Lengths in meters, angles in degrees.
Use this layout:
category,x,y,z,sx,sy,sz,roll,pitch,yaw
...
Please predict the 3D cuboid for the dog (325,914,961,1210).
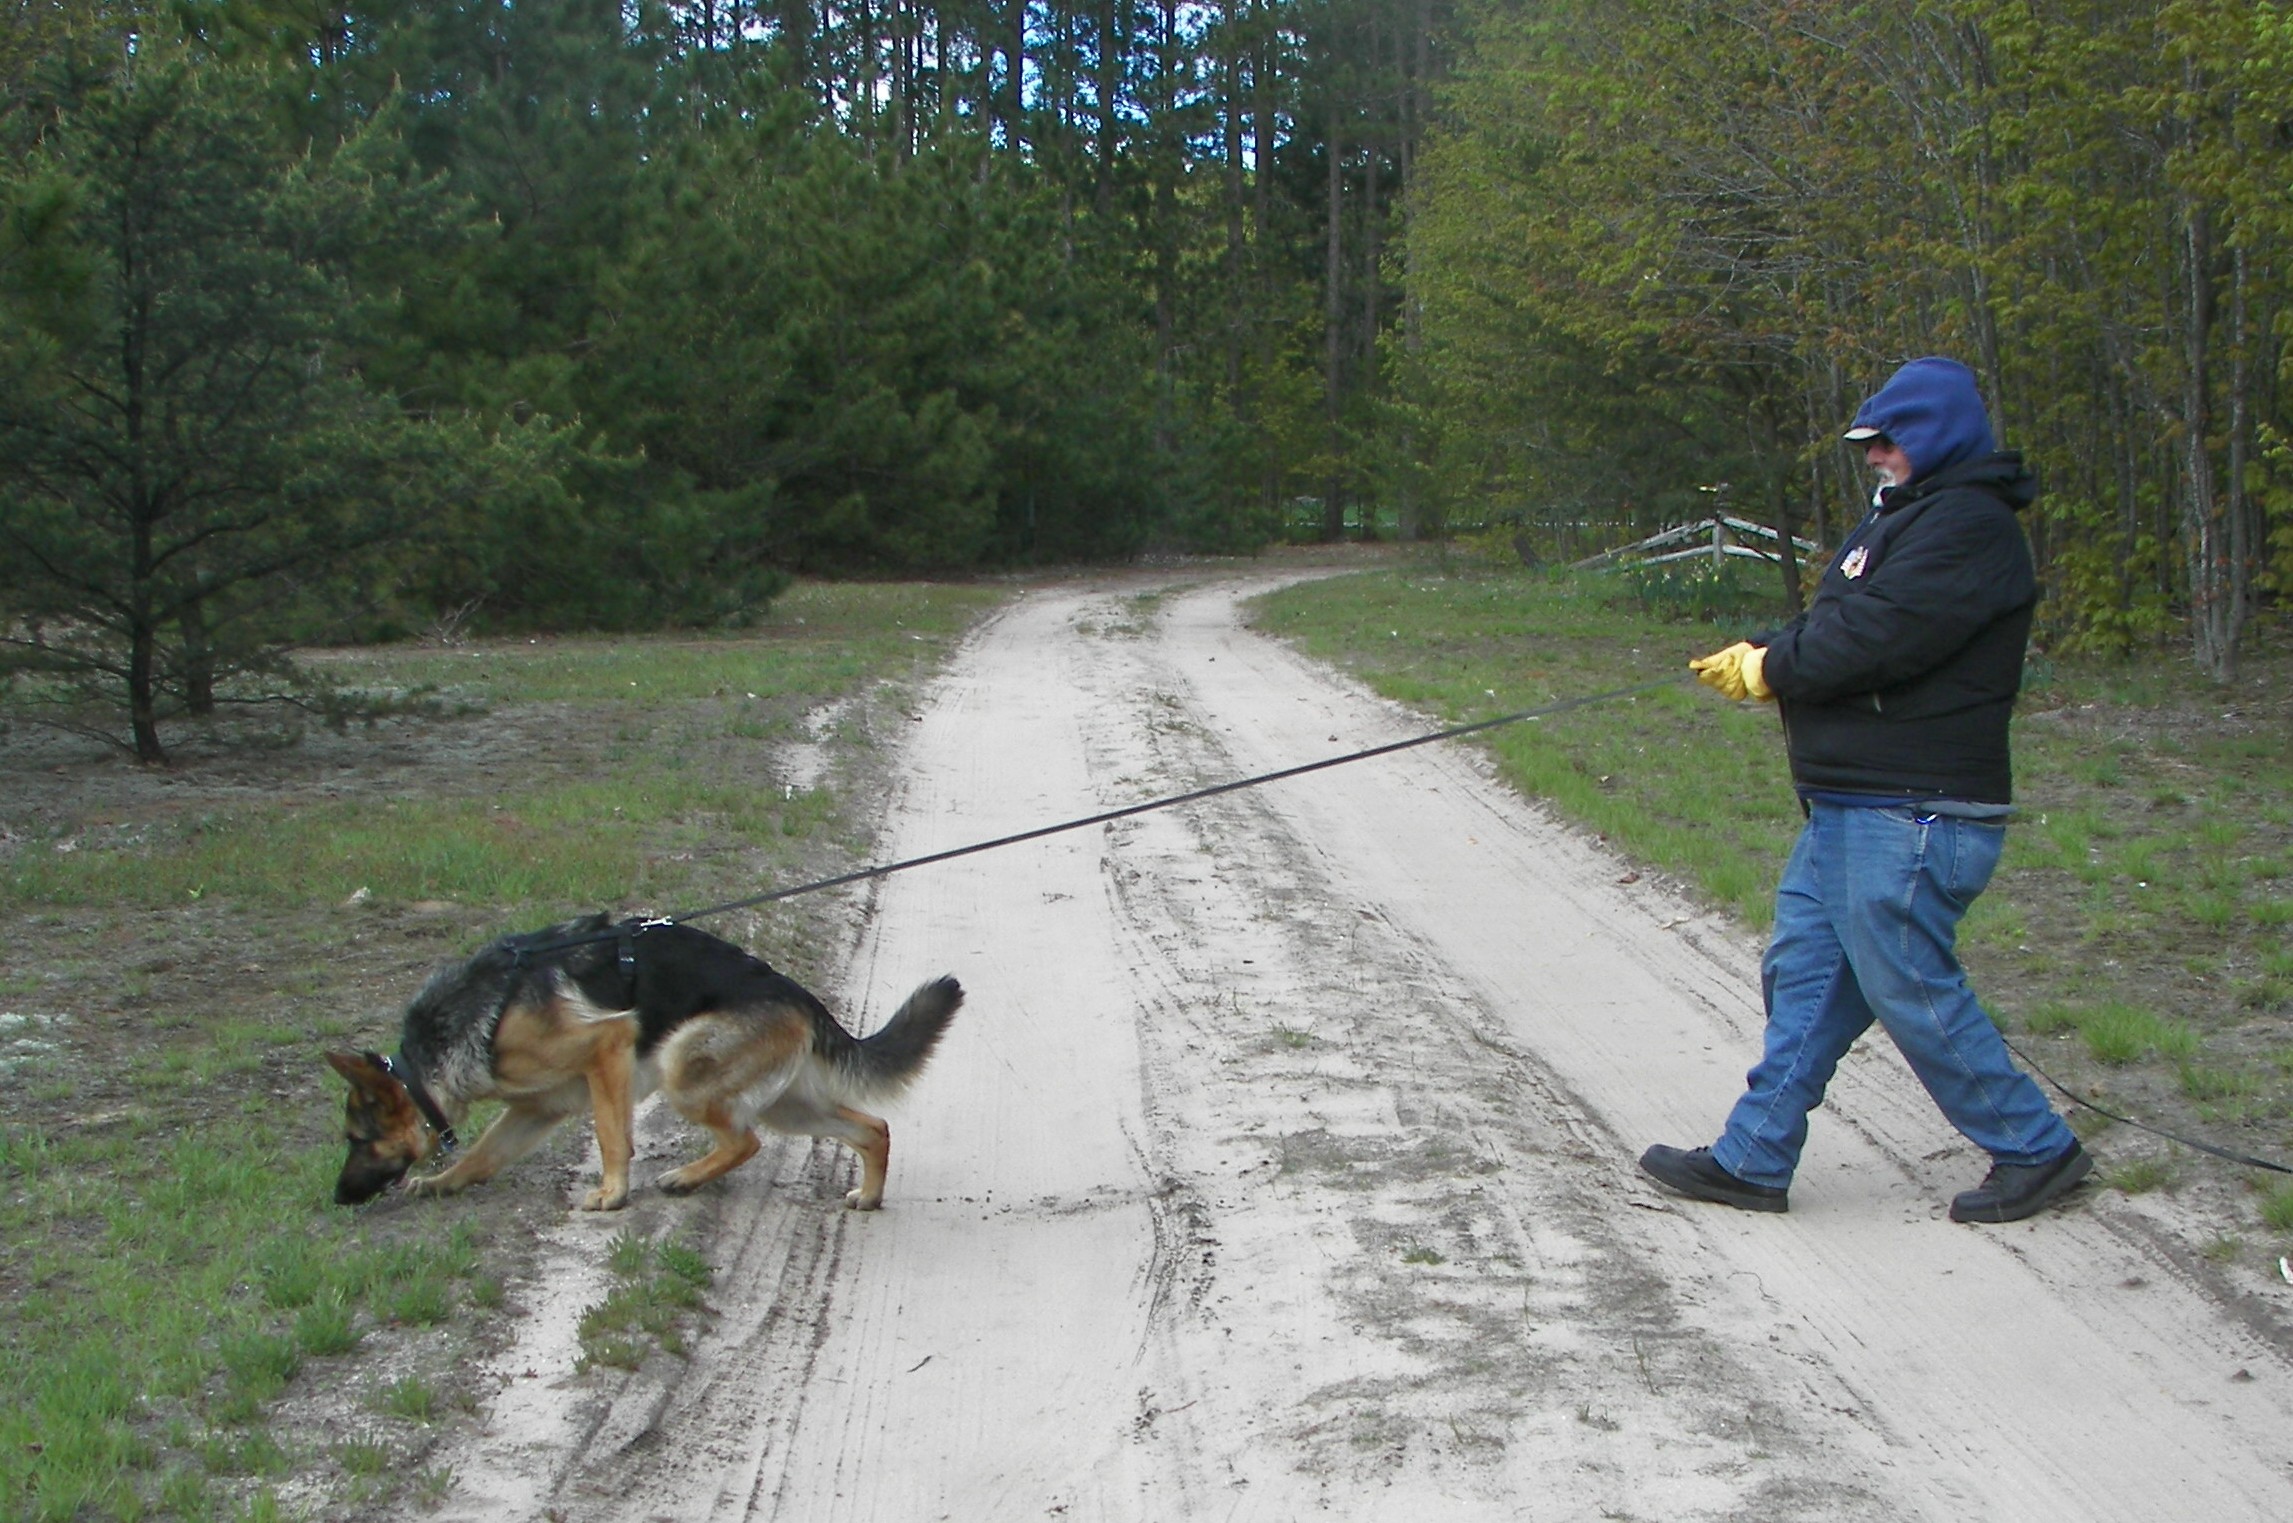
category,x,y,z,sx,sy,sz,roll,pitch,yaw
dog,-2.549,1.586,9.988,2.900,1.449,0.717,0,-2,-4
